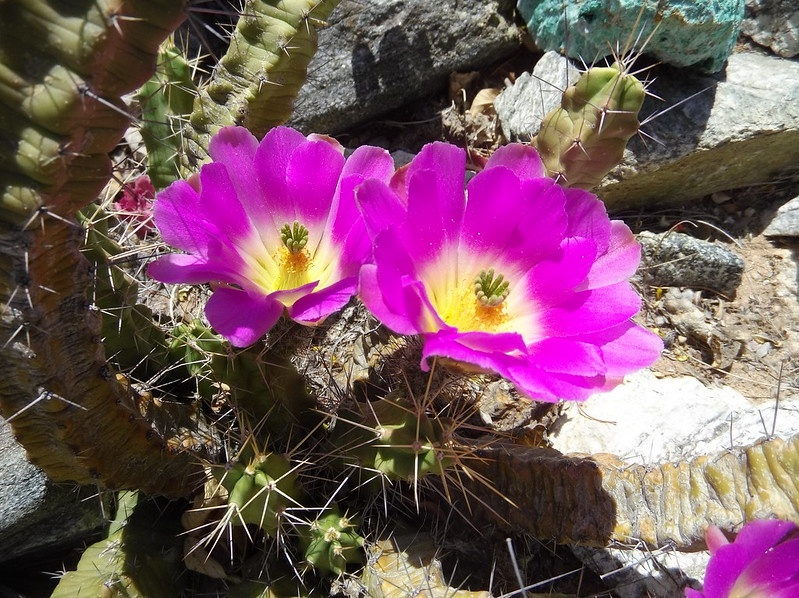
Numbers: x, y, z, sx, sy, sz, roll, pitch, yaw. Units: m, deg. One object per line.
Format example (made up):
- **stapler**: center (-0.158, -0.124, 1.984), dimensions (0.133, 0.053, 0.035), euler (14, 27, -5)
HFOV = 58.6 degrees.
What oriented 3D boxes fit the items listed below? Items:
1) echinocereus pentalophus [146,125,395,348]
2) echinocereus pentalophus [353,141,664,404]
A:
- **echinocereus pentalophus**: center (-0.236, -0.115, 1.588), dimensions (0.542, 0.230, 0.511), euler (5, 47, -4)
- **echinocereus pentalophus**: center (0.207, -0.048, 1.659), dimensions (0.789, 0.801, 0.314), euler (21, 109, 5)
